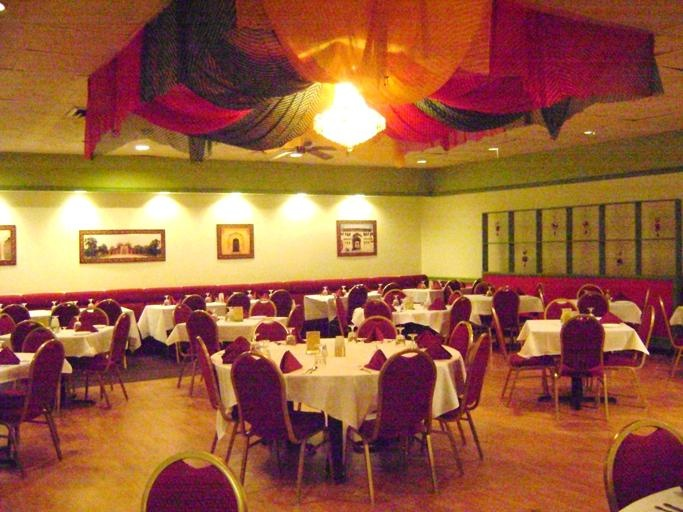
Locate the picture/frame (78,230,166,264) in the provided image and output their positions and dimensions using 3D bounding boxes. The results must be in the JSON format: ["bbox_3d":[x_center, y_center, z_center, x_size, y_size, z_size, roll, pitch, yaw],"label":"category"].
[{"bbox_3d":[-4.179,-0.196,10.225,1.484,0.632,0.124,-3,6,-19],"label":"picture/frame"}]

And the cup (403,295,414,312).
[{"bbox_3d":[0.964,0.713,7.985,0.161,0.301,0.159,0,-6,0],"label":"cup"}]

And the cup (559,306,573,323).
[{"bbox_3d":[2.499,0.668,6.033,0.149,0.207,0.148,0,1,0],"label":"cup"}]

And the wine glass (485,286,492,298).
[{"bbox_3d":[2.534,0.622,9.251,0.156,0.171,0.151,-2,2,-2],"label":"wine glass"}]

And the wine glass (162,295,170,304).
[{"bbox_3d":[-3.121,0.772,9.485,0.139,0.238,0.152,0,-1,-29],"label":"wine glass"}]

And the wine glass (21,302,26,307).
[{"bbox_3d":[-5.088,0.784,8.562,0.079,0.093,0.079,0,-7,-22],"label":"wine glass"}]

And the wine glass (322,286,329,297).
[{"bbox_3d":[-0.359,0.680,10.284,0.140,0.255,0.144,-2,-3,12],"label":"wine glass"}]

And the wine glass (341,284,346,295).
[{"bbox_3d":[0.003,0.665,10.245,0.113,0.207,0.119,-1,-2,4],"label":"wine glass"}]

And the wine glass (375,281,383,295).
[{"bbox_3d":[0.763,0.671,10.877,0.156,0.300,0.225,0,-1,-5],"label":"wine glass"}]

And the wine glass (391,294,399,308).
[{"bbox_3d":[0.779,0.701,8.213,0.114,0.221,0.117,2,2,35],"label":"wine glass"}]

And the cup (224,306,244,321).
[{"bbox_3d":[-1.390,0.754,6.970,0.191,0.195,0.195,1,-6,0],"label":"cup"}]

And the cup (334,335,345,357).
[{"bbox_3d":[-0.018,0.759,4.524,0.097,0.176,0.078,-3,6,-17],"label":"cup"}]
